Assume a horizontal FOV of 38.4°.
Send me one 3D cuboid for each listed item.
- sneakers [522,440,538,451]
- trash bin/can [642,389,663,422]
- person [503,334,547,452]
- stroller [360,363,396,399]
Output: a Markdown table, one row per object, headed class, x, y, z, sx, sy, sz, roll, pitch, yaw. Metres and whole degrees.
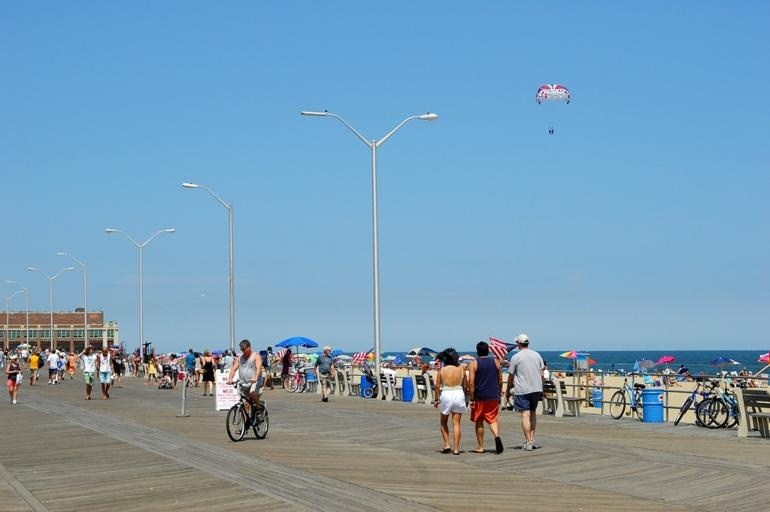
| class | x | y | z | sx | sy | sz | roll | pitch | yaw |
| --- | --- | --- | --- | --- | --- | --- | --- | --- | --- |
| sneakers | 3.437 | 4.508 | 26.399 | 0.176 | 0.174 | 0.426 | 0 | 0 | -8 |
| trash bin/can | 7.657 | 4.239 | 31.554 | 0.594 | 0.950 | 0.647 | -1 | -10 | 9 |
| person | 3.359 | 3.229 | 26.610 | 0.919 | 2.638 | 0.969 | 9 | -13 | -44 |
| stroller | -0.175 | 4.941 | 43.670 | 1.564 | 1.155 | 1.000 | 0 | 3 | 4 |
